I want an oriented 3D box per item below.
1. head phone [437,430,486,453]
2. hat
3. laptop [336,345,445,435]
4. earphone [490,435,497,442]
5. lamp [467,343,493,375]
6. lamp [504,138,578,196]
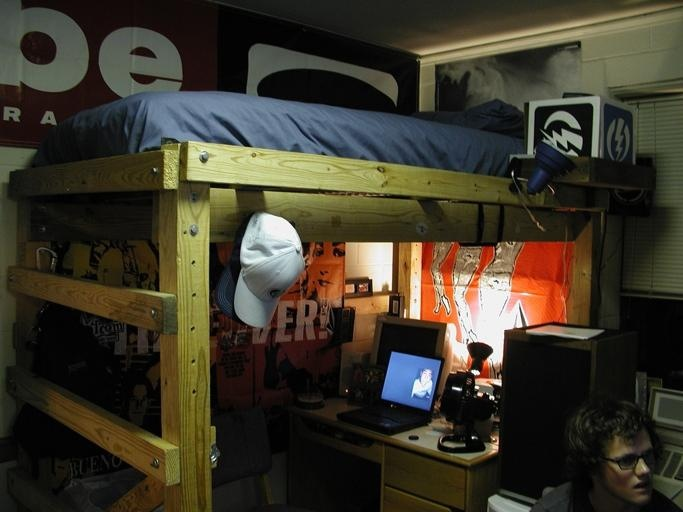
[{"bbox_3d":[0.765,1.213,3.749,0.205,0.072,0.152,2,1,-9],"label":"head phone"},{"bbox_3d":[-0.351,0.055,2.401,0.386,0.476,0.245,0,2,-2],"label":"hat"},{"bbox_3d":[0.419,0.981,4.197,0.543,0.419,0.530,1,2,-43],"label":"laptop"},{"bbox_3d":[1.037,1.240,3.922,0.022,0.020,0.038,5,2,24],"label":"earphone"},{"bbox_3d":[0.982,0.735,4.208,0.205,0.179,0.206,16,-2,6],"label":"lamp"},{"bbox_3d":[1.066,-0.450,3.078,0.334,0.232,0.119,-43,-11,-17],"label":"lamp"}]
